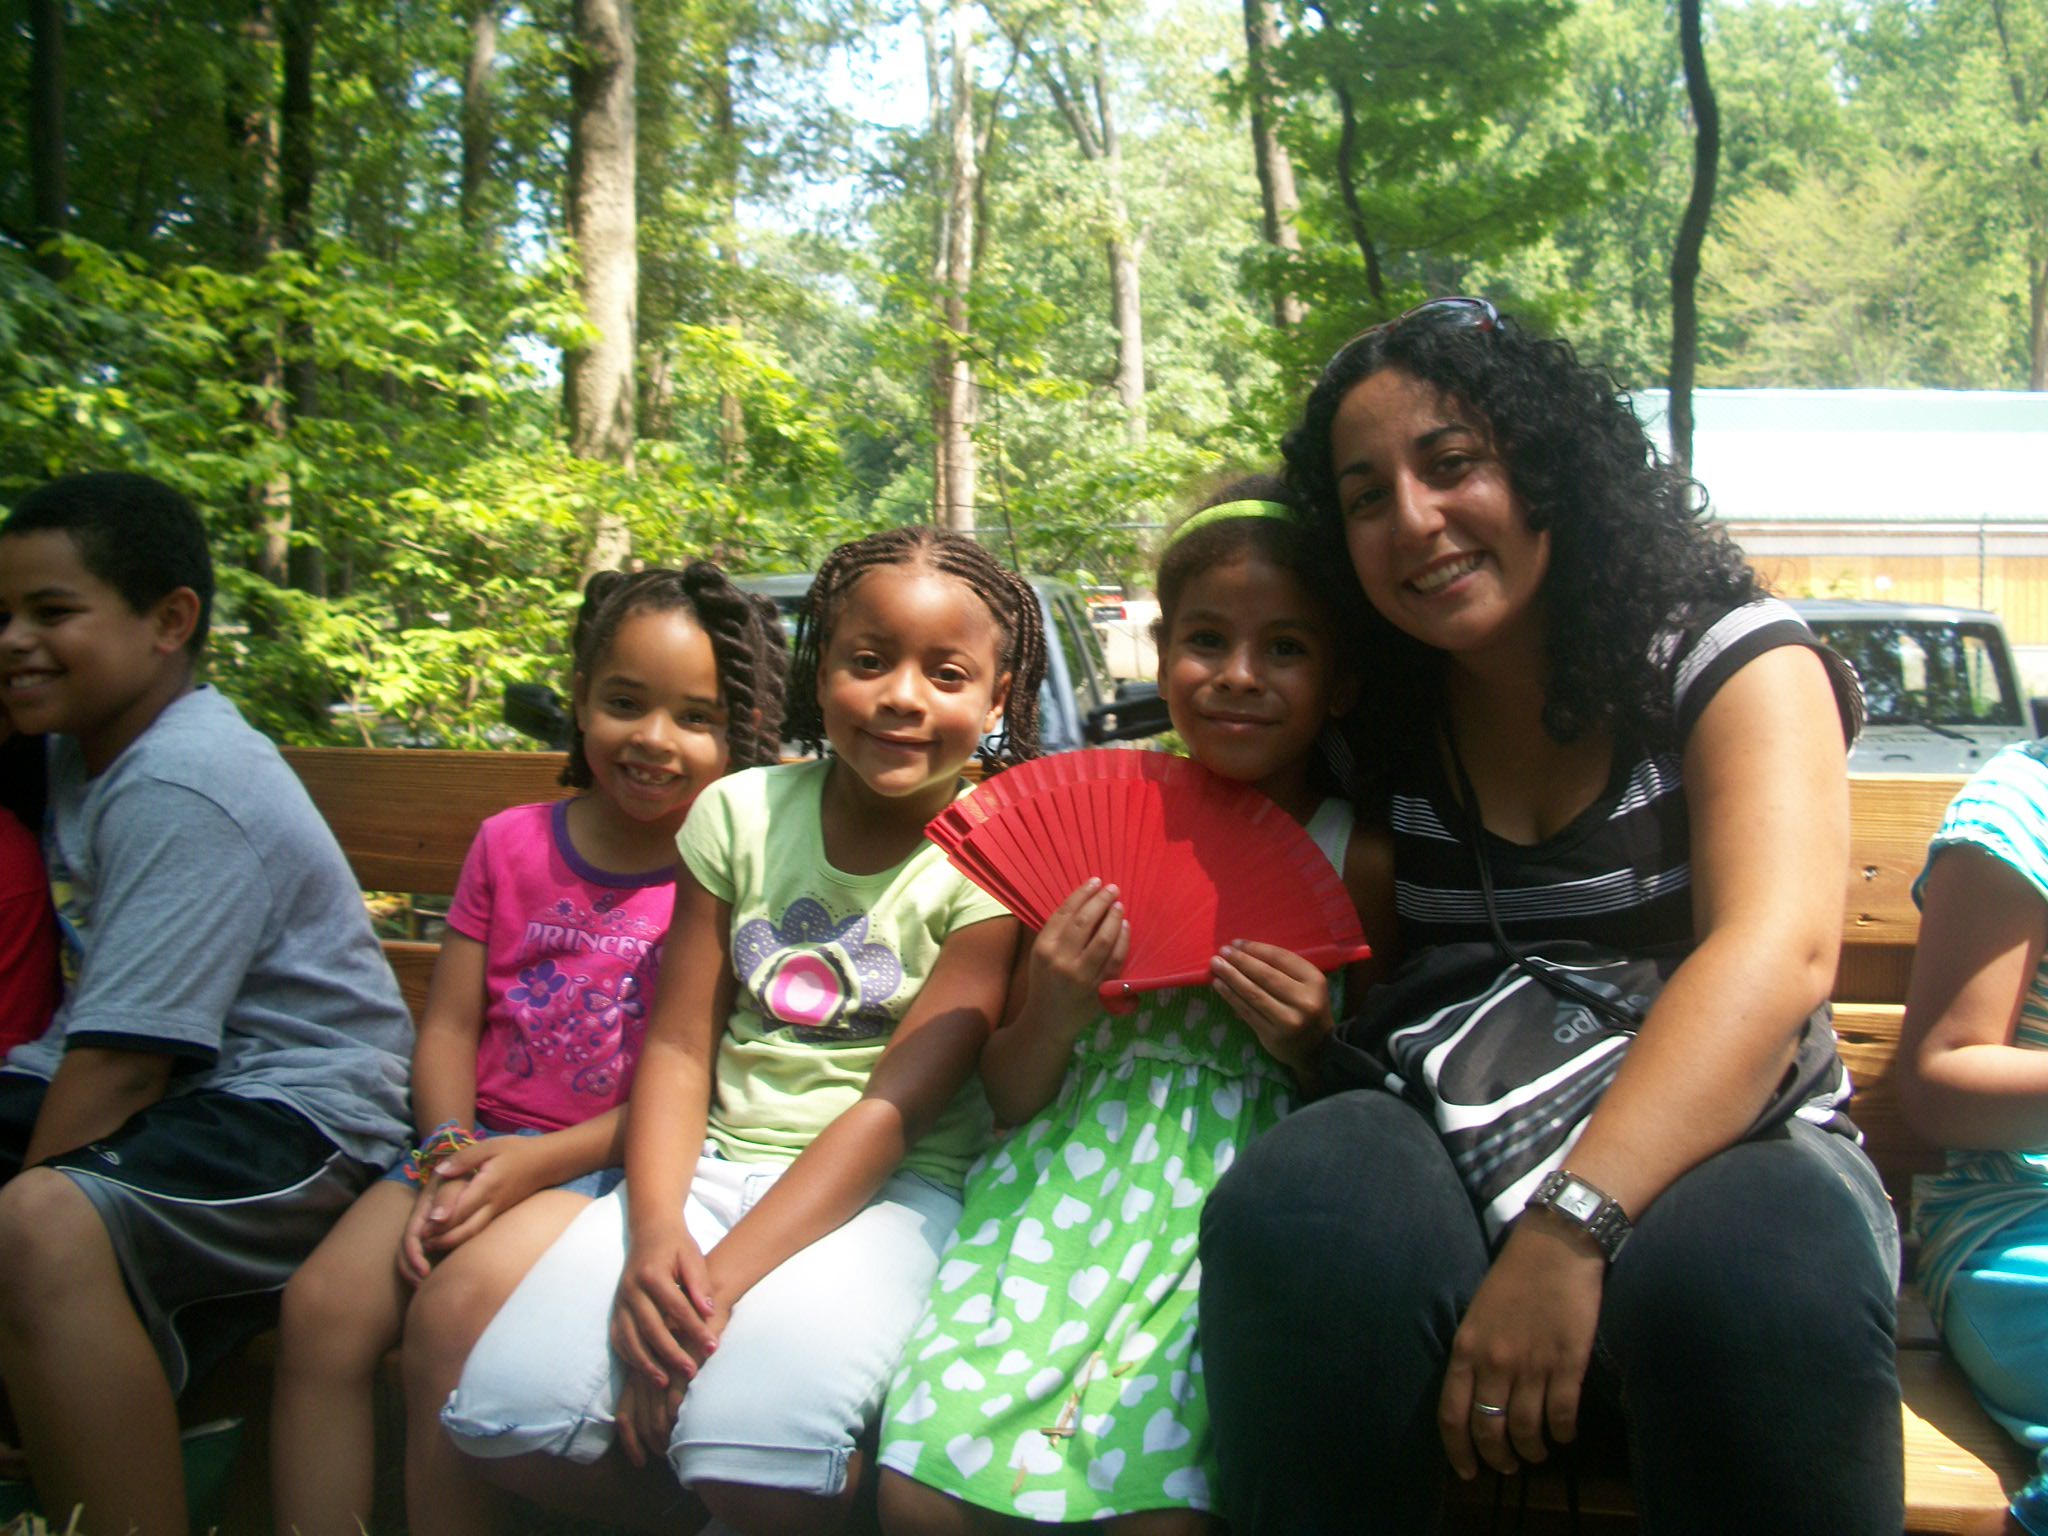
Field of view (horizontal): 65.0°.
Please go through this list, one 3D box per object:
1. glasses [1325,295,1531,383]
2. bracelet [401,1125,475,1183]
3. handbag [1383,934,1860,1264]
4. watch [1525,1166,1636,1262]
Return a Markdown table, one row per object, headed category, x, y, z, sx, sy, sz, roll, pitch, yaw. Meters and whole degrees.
| category | x | y | z | sx | sy | sz | roll | pitch | yaw |
| --- | --- | --- | --- | --- | --- | --- | --- | --- | --- |
| glasses | 0.617 | -0.655 | 2.456 | 0.160 | 0.098 | 0.208 | -2 | 19 | 39 |
| bracelet | -0.994 | 0.658 | 2.757 | 0.115 | 0.042 | 0.083 | -44 | -1 | -8 |
| handbag | 0.815 | 0.393 | 2.356 | 0.489 | 0.173 | 0.421 | -18 | 10 | -34 |
| watch | 0.704 | 0.560 | 2.075 | 0.089 | 0.110 | 0.107 | -48 | -9 | -9 |
